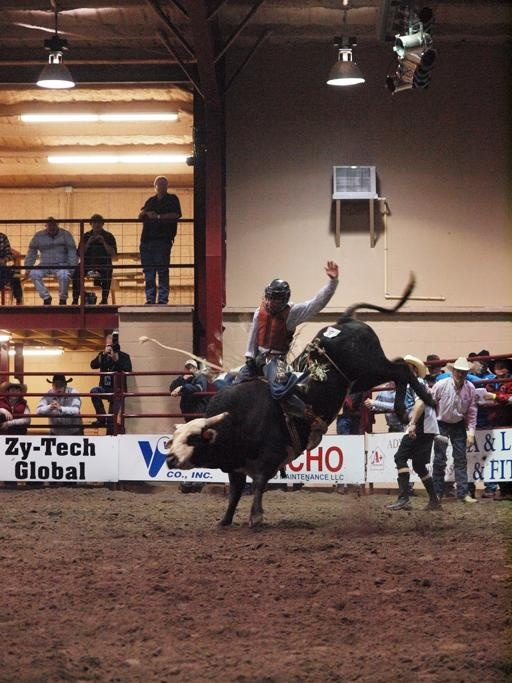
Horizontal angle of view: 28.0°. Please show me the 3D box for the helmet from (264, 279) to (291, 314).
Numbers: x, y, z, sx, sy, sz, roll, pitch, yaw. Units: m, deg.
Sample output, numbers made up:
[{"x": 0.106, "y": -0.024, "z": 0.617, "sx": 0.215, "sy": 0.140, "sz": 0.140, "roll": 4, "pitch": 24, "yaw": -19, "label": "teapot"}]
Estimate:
[{"x": 0.161, "y": -0.460, "z": 10.042, "sx": 0.270, "sy": 0.298, "sz": 0.327, "roll": 3, "pitch": 12, "yaw": 18, "label": "helmet"}]

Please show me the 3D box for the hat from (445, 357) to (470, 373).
[{"x": 2.504, "y": 0.264, "z": 12.546, "sx": 0.231, "sy": 0.088, "sz": 0.239, "roll": 4, "pitch": -13, "yaw": 5, "label": "hat"}]

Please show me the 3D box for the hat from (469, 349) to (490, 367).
[{"x": 3.071, "y": 0.225, "z": 14.109, "sx": 0.346, "sy": 0.241, "sz": 0.517, "roll": 3, "pitch": -2, "yaw": 11, "label": "hat"}]

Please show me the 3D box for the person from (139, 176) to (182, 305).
[{"x": -1.577, "y": -1.666, "z": 16.871, "sx": 0.698, "sy": 2.098, "sz": 1.229, "roll": -3, "pitch": 6, "yaw": -5, "label": "person"}]

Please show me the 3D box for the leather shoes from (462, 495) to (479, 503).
[{"x": 2.644, "y": 1.953, "z": 12.653, "sx": 0.081, "sy": 0.079, "sz": 0.215, "roll": 3, "pitch": -19, "yaw": 2, "label": "leather shoes"}]

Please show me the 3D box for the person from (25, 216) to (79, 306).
[{"x": -3.440, "y": -1.341, "z": 17.213, "sx": 0.869, "sy": 1.431, "sz": 2.961, "roll": -4, "pitch": 6, "yaw": -12, "label": "person"}]

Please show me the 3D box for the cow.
[{"x": 0.249, "y": 0.729, "z": 9.764, "sx": 2.733, "sy": 2.106, "sz": 0.738, "roll": -5, "pitch": 6, "yaw": -30, "label": "cow"}]

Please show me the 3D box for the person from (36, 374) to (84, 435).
[{"x": -2.895, "y": 0.956, "z": 15.019, "sx": 0.623, "sy": 1.084, "sz": 1.666, "roll": -4, "pitch": 6, "yaw": -11, "label": "person"}]

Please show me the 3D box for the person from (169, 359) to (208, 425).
[{"x": -1.075, "y": 0.746, "z": 14.847, "sx": 0.492, "sy": 0.883, "sz": 0.361, "roll": -4, "pitch": 19, "yaw": -23, "label": "person"}]

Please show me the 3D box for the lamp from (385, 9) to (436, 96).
[{"x": 2.001, "y": -3.860, "z": 13.434, "sx": 0.582, "sy": 0.995, "sz": 1.312, "roll": -2, "pitch": 6, "yaw": 5, "label": "lamp"}]

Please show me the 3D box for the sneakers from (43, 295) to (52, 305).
[{"x": -3.423, "y": -0.663, "z": 16.823, "sx": 0.085, "sy": 0.153, "sz": 0.235, "roll": 1, "pitch": -9, "yaw": -4, "label": "sneakers"}]

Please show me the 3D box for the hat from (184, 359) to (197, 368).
[{"x": -0.879, "y": 0.304, "z": 13.917, "sx": 0.144, "sy": 0.103, "sz": 0.212, "roll": -2, "pitch": -14, "yaw": 2, "label": "hat"}]
